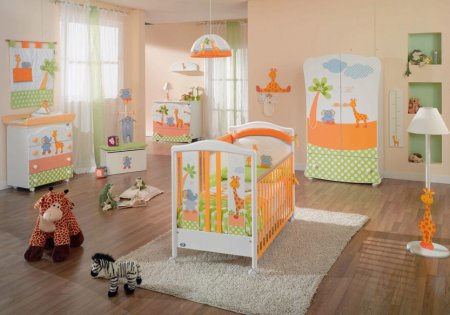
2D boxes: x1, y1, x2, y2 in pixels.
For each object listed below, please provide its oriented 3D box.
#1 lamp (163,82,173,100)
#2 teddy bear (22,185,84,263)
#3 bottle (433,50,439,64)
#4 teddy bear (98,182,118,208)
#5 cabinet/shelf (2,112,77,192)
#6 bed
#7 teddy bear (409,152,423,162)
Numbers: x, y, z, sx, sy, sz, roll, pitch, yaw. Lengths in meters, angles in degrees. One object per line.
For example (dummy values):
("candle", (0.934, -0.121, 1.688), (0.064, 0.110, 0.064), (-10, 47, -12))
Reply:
("lamp", (-1.509, -1.770, 9.283), (0.239, 0.441, 0.534), (-3, 15, -10))
("teddy bear", (-1.704, 0.594, 3.431), (0.443, 0.719, 0.396), (1, 14, 4))
("bottle", (3.201, -1.531, 5.328), (0.086, 0.200, 0.097), (13, 20, 43))
("teddy bear", (-1.533, 0.487, 4.573), (0.211, 0.290, 0.270), (-8, 16, -26))
("cabinet/shelf", (-2.780, -0.085, 5.271), (0.979, 1.077, 0.538), (-7, 16, -24))
("bed", (0.264, 0.276, 3.890), (1.089, 1.153, 1.667), (3, 10, 19))
("teddy bear", (3.021, -0.001, 5.564), (0.174, 0.075, 0.141), (-6, 41, 6))
